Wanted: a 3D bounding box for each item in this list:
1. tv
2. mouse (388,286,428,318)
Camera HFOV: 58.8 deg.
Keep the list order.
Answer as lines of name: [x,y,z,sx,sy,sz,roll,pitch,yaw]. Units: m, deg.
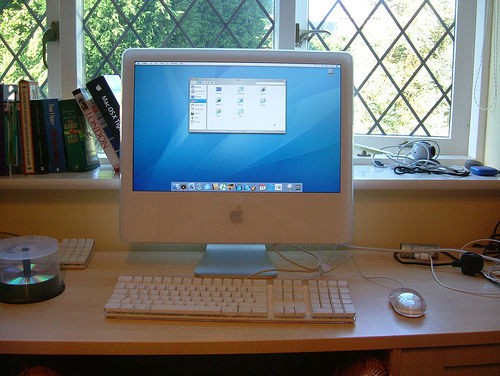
tv: [-0.041,-0.092,1.333,0.699,0.685,0.230,1,1,-2]
mouse: [0.437,0.309,1.221,0.084,0.027,0.119,-5,25,-1]
